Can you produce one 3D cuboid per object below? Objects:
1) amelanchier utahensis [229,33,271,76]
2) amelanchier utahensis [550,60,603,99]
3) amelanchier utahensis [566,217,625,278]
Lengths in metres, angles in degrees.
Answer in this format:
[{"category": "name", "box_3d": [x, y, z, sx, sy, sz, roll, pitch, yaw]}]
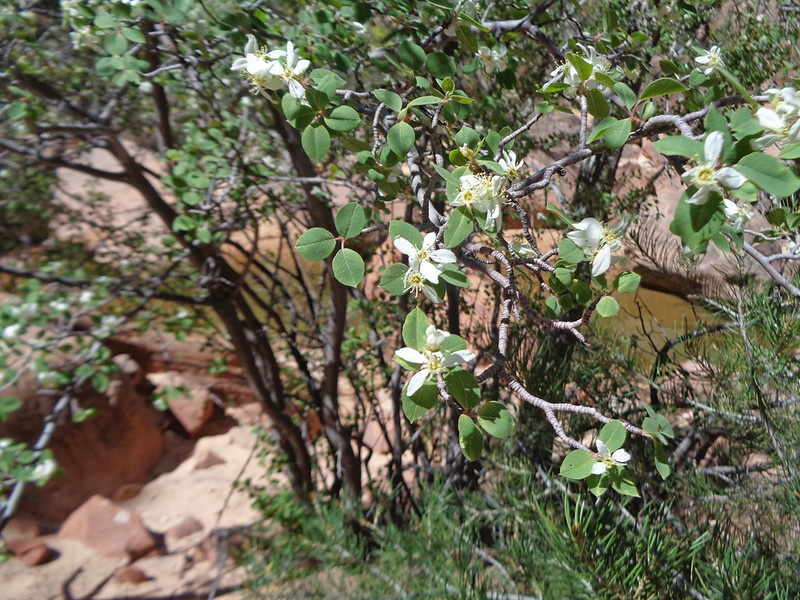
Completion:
[{"category": "amelanchier utahensis", "box_3d": [-0.528, -0.851, 1.920, 0.126, 0.147, 0.318, -16, 23, -8]}, {"category": "amelanchier utahensis", "box_3d": [0.615, -0.778, 1.935, 0.166, 0.124, 0.275, -5, 24, 17]}, {"category": "amelanchier utahensis", "box_3d": [0.621, -0.196, 1.755, 0.196, 0.078, 0.209, 17, 58, -12]}]
